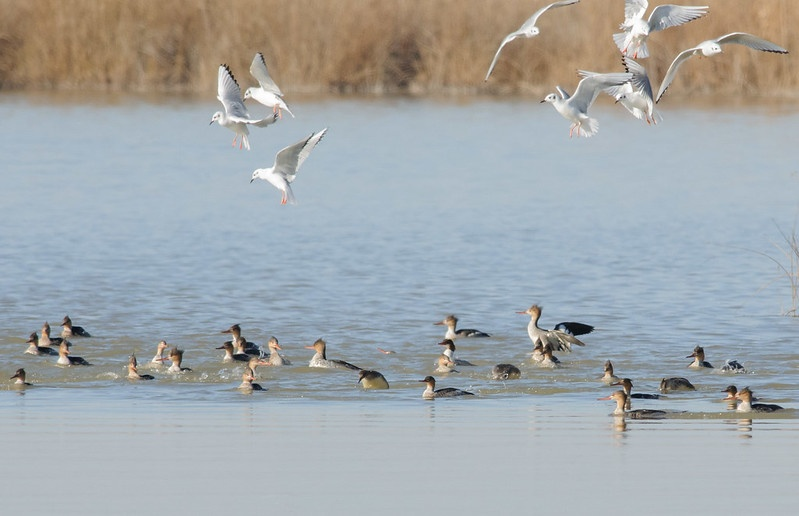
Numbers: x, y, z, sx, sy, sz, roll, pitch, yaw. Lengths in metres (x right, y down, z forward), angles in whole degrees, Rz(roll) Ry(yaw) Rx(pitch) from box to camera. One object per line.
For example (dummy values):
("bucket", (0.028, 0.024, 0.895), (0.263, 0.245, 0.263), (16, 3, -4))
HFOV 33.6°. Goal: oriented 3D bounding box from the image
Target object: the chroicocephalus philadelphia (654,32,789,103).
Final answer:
("chroicocephalus philadelphia", (8.074, -5.312, 34.405), (3.671, 0.842, 2.055), (-21, 22, 0))
